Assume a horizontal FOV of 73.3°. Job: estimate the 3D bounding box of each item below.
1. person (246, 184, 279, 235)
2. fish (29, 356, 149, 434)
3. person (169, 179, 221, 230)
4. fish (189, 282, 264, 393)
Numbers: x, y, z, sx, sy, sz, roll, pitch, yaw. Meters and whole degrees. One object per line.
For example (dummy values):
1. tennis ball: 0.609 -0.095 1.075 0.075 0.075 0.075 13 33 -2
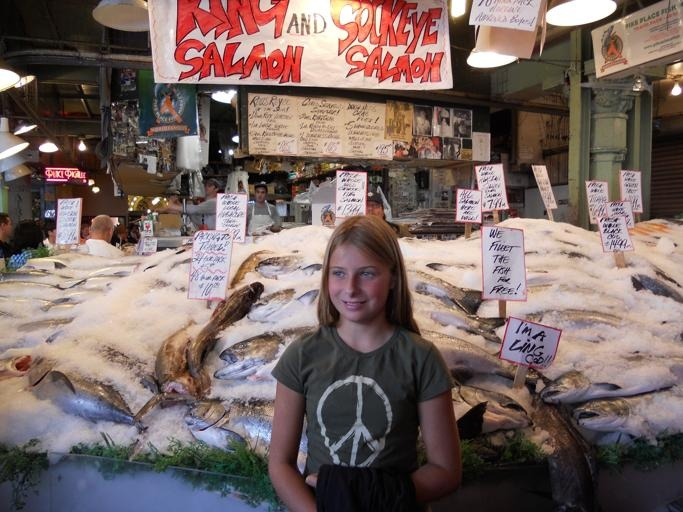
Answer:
1. person: -1.337 -0.684 7.613 0.688 1.037 0.681 -2 4 -16
2. fish: -1.398 0.778 2.516 0.441 0.133 0.176 26 15 12
3. person: -2.185 -0.752 6.754 0.745 0.455 1.031 16 9 -14
4. fish: -0.721 0.491 2.834 0.252 0.191 0.641 25 49 10
